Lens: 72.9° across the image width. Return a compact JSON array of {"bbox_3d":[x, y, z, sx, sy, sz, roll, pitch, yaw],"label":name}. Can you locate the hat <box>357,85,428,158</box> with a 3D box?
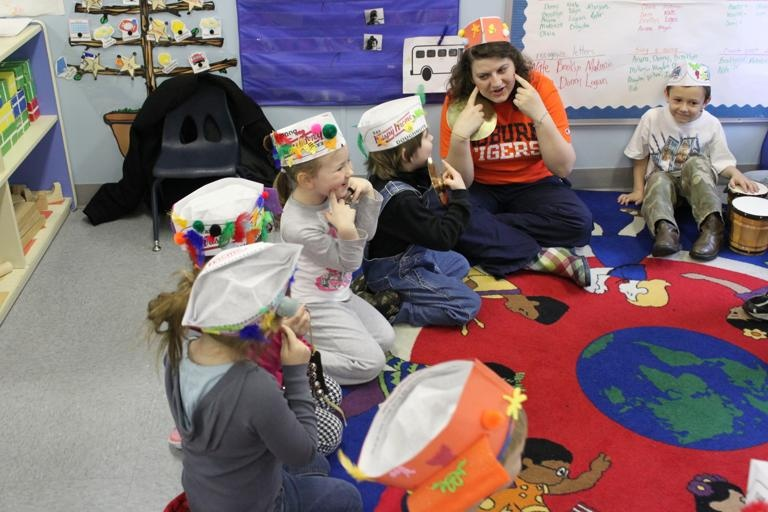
[{"bbox_3d":[0.031,-0.606,2.421,0.303,0.174,0.255,-21,21,7],"label":"hat"}]

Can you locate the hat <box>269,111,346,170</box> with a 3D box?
[{"bbox_3d":[-0.310,-0.455,2.128,0.247,0.130,0.233,-23,12,3],"label":"hat"}]

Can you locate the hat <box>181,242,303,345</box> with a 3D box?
[{"bbox_3d":[-0.385,0.108,1.454,0.289,0.220,0.103,-38,-5,-7],"label":"hat"}]

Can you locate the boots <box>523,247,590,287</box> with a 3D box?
[{"bbox_3d":[0.979,0.091,2.847,0.260,0.107,0.208,12,43,20],"label":"boots"}]

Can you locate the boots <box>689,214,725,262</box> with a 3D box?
[{"bbox_3d":[1.860,-0.137,2.998,0.139,0.223,0.362,14,36,30],"label":"boots"}]

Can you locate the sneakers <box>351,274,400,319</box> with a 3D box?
[{"bbox_3d":[-0.040,0.204,2.590,0.223,0.088,0.211,-40,61,-19],"label":"sneakers"}]

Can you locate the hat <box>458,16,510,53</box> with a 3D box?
[{"bbox_3d":[0.582,-1.246,2.937,0.332,0.121,0.335,3,27,23],"label":"hat"}]

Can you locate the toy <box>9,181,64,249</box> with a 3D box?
[{"bbox_3d":[-2.137,-0.259,3.264,0.142,0.305,0.436,7,58,-28],"label":"toy"}]

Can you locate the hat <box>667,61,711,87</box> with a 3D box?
[{"bbox_3d":[1.927,-1.140,3.275,0.268,0.138,0.227,17,32,39],"label":"hat"}]

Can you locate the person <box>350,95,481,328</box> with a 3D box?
[{"bbox_3d":[0.167,-0.173,2.521,0.681,1.106,0.787,-6,32,-10],"label":"person"}]

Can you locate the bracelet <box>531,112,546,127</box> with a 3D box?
[{"bbox_3d":[0.876,-0.757,2.894,0.065,0.065,0.063,18,14,-28],"label":"bracelet"}]

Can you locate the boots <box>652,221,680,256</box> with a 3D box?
[{"bbox_3d":[1.588,-0.097,2.928,0.106,0.133,0.301,2,19,25],"label":"boots"}]

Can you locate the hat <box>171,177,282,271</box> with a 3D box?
[{"bbox_3d":[-0.568,-0.120,1.894,0.277,0.232,0.361,15,37,34],"label":"hat"}]

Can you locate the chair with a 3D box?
[{"bbox_3d":[-1.103,-0.547,3.187,0.623,0.977,0.656,-3,20,-18],"label":"chair"}]
